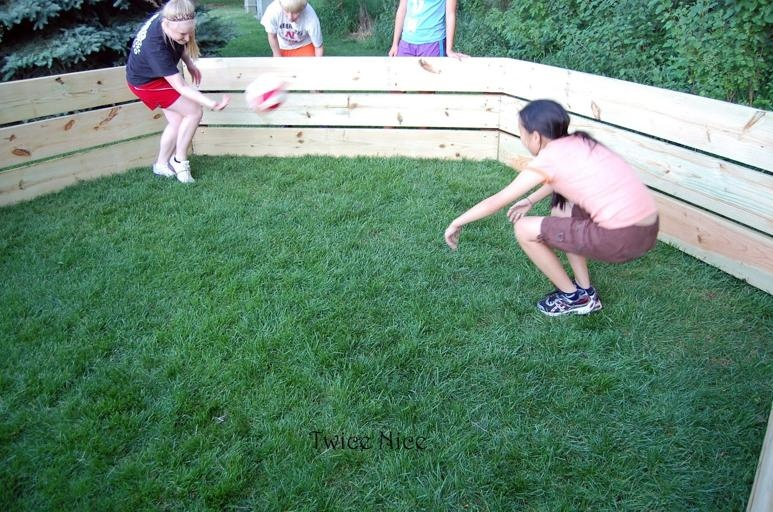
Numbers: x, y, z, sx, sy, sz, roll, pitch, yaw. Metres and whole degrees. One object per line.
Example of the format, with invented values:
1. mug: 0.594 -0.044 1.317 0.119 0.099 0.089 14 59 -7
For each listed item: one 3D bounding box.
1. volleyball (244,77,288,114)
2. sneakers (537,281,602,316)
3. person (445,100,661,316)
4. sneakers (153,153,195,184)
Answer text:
1. volleyball: -1.268 -1.673 5.402 0.384 0.158 0.406 -38 66 -16
2. sneakers: 1.245 0.280 3.567 0.476 0.226 0.188 -1 24 3
3. person: 1.174 -0.353 3.689 1.427 1.463 1.015 2 11 23
4. sneakers: -2.315 -0.948 5.557 0.428 0.194 0.149 29 31 5
